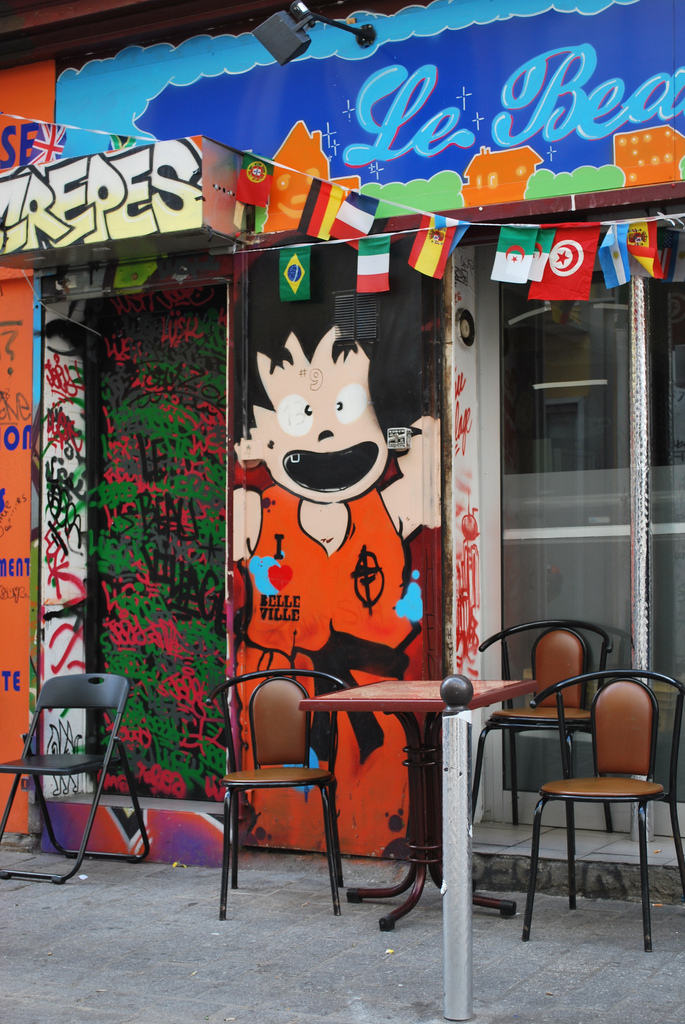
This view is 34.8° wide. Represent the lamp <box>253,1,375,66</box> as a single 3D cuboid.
[{"bbox_3d":[-0.149,-2.201,5.110,0.589,0.330,0.233,-16,-20,-27],"label":"lamp"}]

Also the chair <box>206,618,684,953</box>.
[{"bbox_3d":[0.328,1.096,4.343,1.960,0.949,1.383,-8,-9,42],"label":"chair"}]
